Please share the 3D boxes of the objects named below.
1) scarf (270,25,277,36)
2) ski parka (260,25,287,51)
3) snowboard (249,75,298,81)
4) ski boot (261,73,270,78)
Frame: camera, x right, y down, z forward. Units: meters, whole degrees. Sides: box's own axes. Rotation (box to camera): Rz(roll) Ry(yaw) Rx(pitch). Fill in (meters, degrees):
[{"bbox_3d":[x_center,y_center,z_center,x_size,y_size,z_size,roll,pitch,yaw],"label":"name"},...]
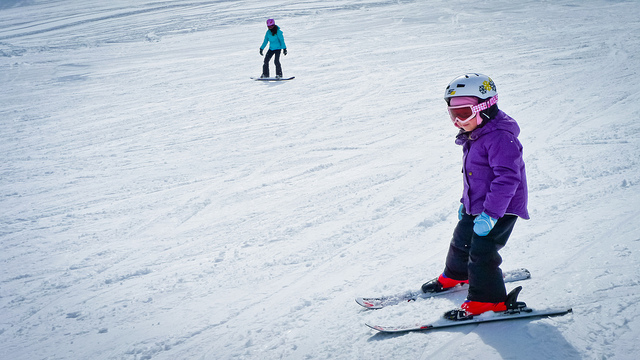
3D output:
[{"bbox_3d":[-1.625,-5.343,23.393,0.222,0.324,0.183,-6,21,-1],"label":"scarf"},{"bbox_3d":[-1.585,-5.135,23.562,1.244,0.890,0.509,6,21,41],"label":"ski parka"},{"bbox_3d":[-1.626,-3.606,23.243,1.648,0.108,0.577,-4,15,-3],"label":"snowboard"},{"bbox_3d":[-1.960,-3.721,23.290,0.201,0.059,0.126,-22,54,-34],"label":"ski boot"}]
